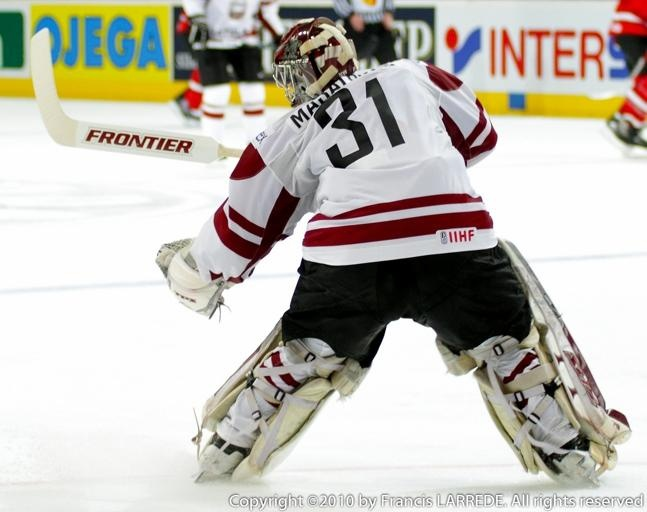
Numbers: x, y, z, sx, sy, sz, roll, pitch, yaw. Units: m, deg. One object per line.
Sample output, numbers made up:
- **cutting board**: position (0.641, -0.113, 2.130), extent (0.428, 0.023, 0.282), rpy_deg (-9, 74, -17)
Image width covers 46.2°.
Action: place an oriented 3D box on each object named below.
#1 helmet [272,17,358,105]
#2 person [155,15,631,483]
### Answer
- **helmet**: position (-0.027, -0.520, 2.041), extent (0.230, 0.214, 0.192), rpy_deg (9, 23, 36)
- **person**: position (0.297, -0.032, 2.275), extent (1.114, 1.262, 1.168), rpy_deg (6, 11, 41)
